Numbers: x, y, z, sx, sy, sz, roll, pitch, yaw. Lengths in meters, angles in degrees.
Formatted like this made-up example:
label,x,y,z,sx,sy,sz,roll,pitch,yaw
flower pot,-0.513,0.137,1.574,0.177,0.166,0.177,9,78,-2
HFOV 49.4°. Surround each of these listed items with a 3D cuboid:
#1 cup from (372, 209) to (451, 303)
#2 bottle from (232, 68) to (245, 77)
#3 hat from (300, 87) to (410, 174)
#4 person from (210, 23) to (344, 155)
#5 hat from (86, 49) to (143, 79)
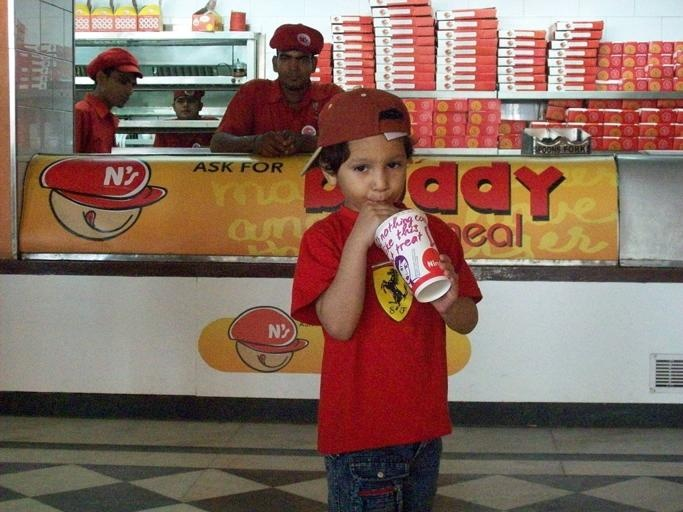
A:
label,x,y,z,sx,sy,sz,roll,pitch,yaw
cup,0.192,-0.003,1.988,0.160,0.190,0.169,-13,-9,-2
bottle,-0.887,-1.609,6.563,0.085,0.075,0.054,-6,-5,-1
hat,0.036,-0.361,2.115,0.339,0.178,0.267,-9,3,34
person,-0.283,-0.661,3.699,0.744,0.921,0.535,0,14,-8
hat,-1.215,-1.010,3.999,0.238,0.116,0.182,1,9,28
